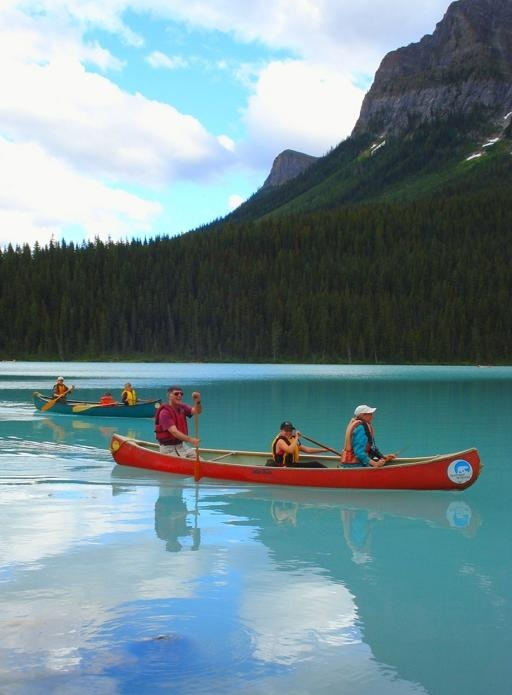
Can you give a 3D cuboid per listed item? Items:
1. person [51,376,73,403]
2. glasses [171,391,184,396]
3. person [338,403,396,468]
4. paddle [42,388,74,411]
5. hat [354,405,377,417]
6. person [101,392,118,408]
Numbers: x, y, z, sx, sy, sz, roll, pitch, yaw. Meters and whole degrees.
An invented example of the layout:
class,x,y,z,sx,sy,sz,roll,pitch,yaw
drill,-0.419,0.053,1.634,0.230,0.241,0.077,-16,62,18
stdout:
class,x,y,z,sx,sy,sz,roll,pitch,yaw
person,-9.111,2.045,42.453,0.422,1.603,0.956,-5,1,31
glasses,-1.459,0.890,16.751,0.123,0.111,0.450,1,0,15
person,1.991,1.681,16.663,0.927,1.222,1.892,1,0,13
paddle,-8.076,2.211,37.004,1.165,0.158,0.065,-51,-11,-16
hat,1.943,1.171,16.065,0.300,0.198,0.780,1,0,1
person,-5.486,2.039,33.535,0.516,0.436,0.808,-8,7,-6
